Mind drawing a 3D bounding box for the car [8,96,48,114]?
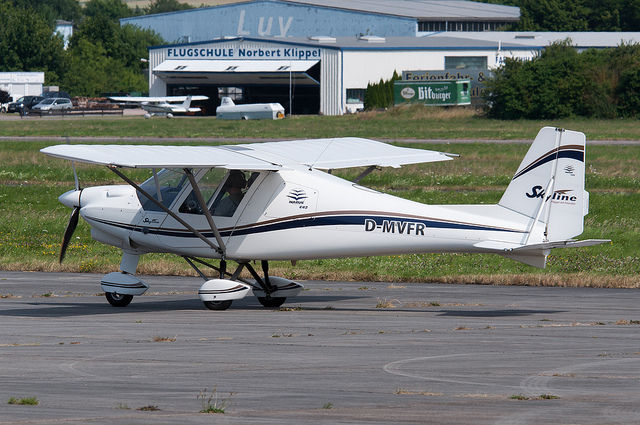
[{"bbox_3d":[-28.392,-10.448,133.807,1.630,0.895,3.209,-1,-1,24],"label":"car"}]

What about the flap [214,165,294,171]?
[{"bbox_3d":[-3.208,-2.269,70.550,3.546,0.400,0.301,-3,11,-10],"label":"flap"}]

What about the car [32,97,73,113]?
[{"bbox_3d":[-25.006,-10.101,131.340,2.937,0.987,1.742,1,2,-40],"label":"car"}]
